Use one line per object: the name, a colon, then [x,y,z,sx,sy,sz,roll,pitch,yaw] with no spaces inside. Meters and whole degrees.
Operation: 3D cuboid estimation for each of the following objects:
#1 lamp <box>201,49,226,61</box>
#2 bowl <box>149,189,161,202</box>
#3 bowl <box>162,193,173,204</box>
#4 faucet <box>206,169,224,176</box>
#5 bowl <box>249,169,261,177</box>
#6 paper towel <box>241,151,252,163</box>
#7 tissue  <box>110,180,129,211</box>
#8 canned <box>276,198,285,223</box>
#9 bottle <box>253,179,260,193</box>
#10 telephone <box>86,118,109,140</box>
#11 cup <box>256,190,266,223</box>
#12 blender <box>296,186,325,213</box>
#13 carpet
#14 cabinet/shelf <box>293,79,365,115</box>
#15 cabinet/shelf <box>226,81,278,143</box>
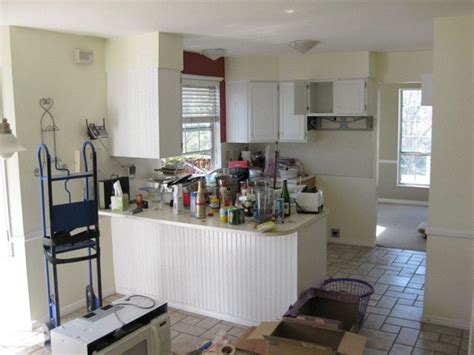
lamp: [-0.335,-1.743,5.386,0.322,0.104,0.368,-3,11,-13]
bowl: [-1.006,0.218,4.740,0.155,0.128,0.162,1,-3,0]
bowl: [-0.848,0.241,4.592,0.143,0.114,0.132,0,0,0]
faucet: [-0.296,-0.077,5.024,0.206,0.080,0.251,-2,11,-5]
bowl: [0.284,-0.076,6.042,0.179,0.120,0.188,-1,11,0]
paper towel: [0.146,-0.363,6.625,0.175,0.205,0.247,1,11,10]
tissue : [-1.361,0.200,4.393,0.204,0.331,0.207,-4,11,-12]
canned: [0.422,0.325,3.829,0.074,0.226,0.077,0,11,5]
bottle: [0.205,0.099,4.172,0.100,0.107,0.113,0,9,1]
telephone: [-1.656,-0.574,4.500,0.133,0.246,0.272,0,5,24]
cup: [0.242,0.289,3.814,0.092,0.294,0.091,-1,11,0]
blender: [0.799,0.230,4.194,0.272,0.260,0.277,1,4,19]
carpet: [3.106,0.939,7.270,0.939,0.035,2.409,4,12,23]
cabinet/shelf: [1.509,-1.261,5.948,0.877,0.493,0.647,2,4,26]
cabinet/shelf: [0.242,-1.074,6.182,0.850,0.955,0.233,-1,11,-1]
